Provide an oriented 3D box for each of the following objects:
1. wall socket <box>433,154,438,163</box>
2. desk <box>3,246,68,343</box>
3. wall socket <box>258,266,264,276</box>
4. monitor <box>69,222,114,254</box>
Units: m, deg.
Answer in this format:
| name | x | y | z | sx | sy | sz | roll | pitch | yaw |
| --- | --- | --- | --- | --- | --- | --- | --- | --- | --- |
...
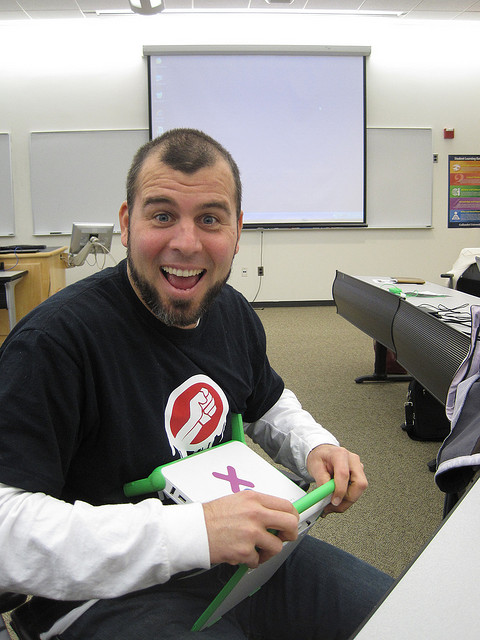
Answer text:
| name | x | y | z | sx | sy | sz | roll | pitch | yaw |
| --- | --- | --- | --- | --- | --- | --- | --- | --- | --- |
| wall socket | 2.352 | -1.947 | 6.067 | 0.064 | 0.096 | 0.016 | -2 | 12 | -14 |
| desk | -1.533 | -0.229 | 3.749 | 0.329 | 0.571 | 0.936 | 1 | 12 | -1 |
| wall socket | 0.247 | -0.591 | 6.086 | 0.076 | 0.115 | 0.021 | -3 | 12 | -21 |
| monitor | -1.170 | -0.631 | 3.936 | 0.324 | 0.225 | 0.214 | -3 | 12 | -19 |
